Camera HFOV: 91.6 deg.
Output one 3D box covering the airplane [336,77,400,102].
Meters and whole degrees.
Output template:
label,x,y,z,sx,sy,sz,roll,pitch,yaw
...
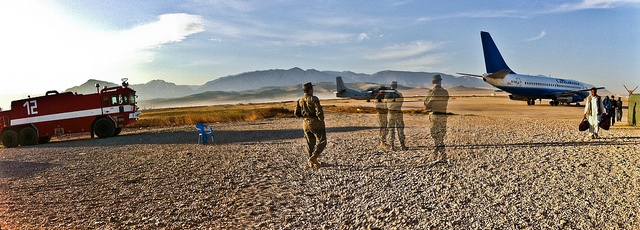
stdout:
label,x,y,z,sx,sy,sz,roll,pitch,yaw
airplane,12.796,-6.592,89.350,19.378,4.859,17.256,-1,1,-35
